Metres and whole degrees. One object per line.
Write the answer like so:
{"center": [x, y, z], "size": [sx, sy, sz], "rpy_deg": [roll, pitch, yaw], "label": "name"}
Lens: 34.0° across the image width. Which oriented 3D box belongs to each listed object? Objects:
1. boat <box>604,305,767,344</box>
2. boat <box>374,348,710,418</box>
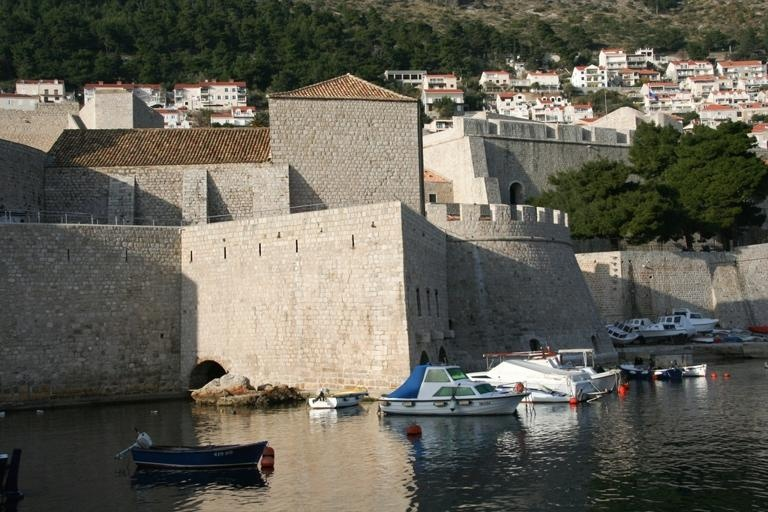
{"center": [22.192, 5.306, 95.789], "size": [9.505, 2.281, 2.297], "rpy_deg": [-3, 0, -4], "label": "boat"}
{"center": [7.999, 8.184, 80.843], "size": [17.342, 3.453, 4.522], "rpy_deg": [-2, -3, -32], "label": "boat"}
